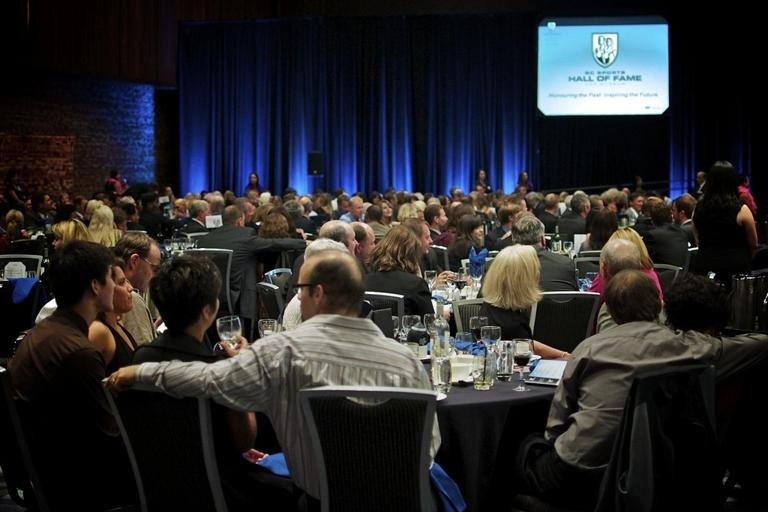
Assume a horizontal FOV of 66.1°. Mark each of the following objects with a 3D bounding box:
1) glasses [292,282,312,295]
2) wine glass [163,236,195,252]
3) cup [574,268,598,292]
[{"bbox_3d":[-0.346,0.141,2.498,0.108,0.034,0.111,1,-2,0],"label":"glasses"},{"bbox_3d":[-2.620,-0.126,7.555,0.277,0.221,0.257,-1,0,24],"label":"wine glass"},{"bbox_3d":[1.904,0.251,5.580,0.235,0.205,0.288,0,-2,4],"label":"cup"}]
